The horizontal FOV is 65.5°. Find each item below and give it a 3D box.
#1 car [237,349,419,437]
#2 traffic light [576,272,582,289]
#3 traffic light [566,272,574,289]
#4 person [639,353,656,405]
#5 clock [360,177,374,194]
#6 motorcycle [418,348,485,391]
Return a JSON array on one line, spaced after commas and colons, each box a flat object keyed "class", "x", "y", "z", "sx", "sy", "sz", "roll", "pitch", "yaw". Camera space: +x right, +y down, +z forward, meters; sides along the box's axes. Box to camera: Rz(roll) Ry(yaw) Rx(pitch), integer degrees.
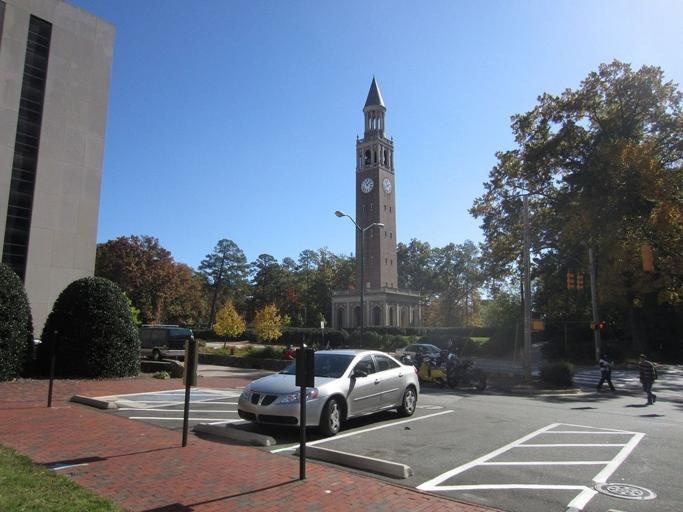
[{"class": "car", "x": -0.157, "y": 3.531, "z": 14.163, "sx": 4.756, "sy": 2.117, "sz": 1.767, "roll": 11, "pitch": -14, "yaw": -43}, {"class": "traffic light", "x": 13.689, "y": 1.436, "z": 30.613, "sx": 0.302, "sy": 0.823, "sz": 0.760, "roll": -3, "pitch": -10, "yaw": 23}, {"class": "traffic light", "x": 13.136, "y": 1.403, "z": 30.528, "sx": 0.636, "sy": 0.842, "sz": 0.337, "roll": 4, "pitch": -9, "yaw": -14}, {"class": "person", "x": 11.422, "y": 4.573, "z": 19.863, "sx": 0.473, "sy": 1.771, "sz": 0.980, "roll": -4, "pitch": -10, "yaw": 29}, {"class": "clock", "x": 3.645, "y": -10.202, "z": 76.898, "sx": 0.107, "sy": 2.452, "sz": 2.243, "roll": 5, "pitch": -10, "yaw": -40}, {"class": "motorcycle", "x": 4.844, "y": 5.068, "z": 23.918, "sx": 2.864, "sy": 1.771, "sz": 1.487, "roll": 1, "pitch": -4, "yaw": 17}]
